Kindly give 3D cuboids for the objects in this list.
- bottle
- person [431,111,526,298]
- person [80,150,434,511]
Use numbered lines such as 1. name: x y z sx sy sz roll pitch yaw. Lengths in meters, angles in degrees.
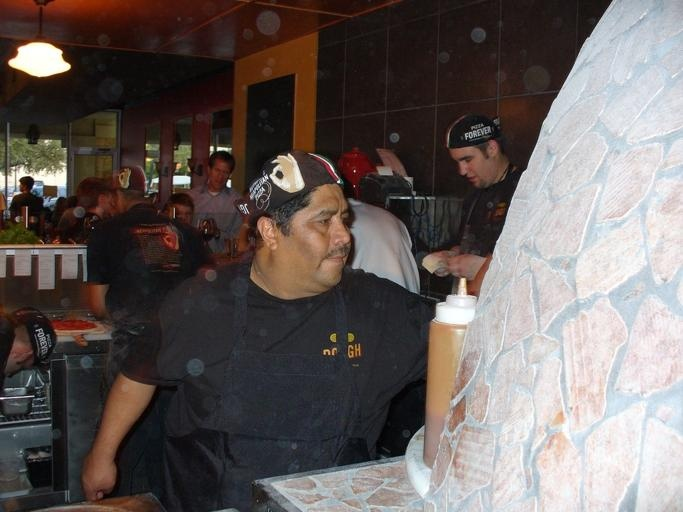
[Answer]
1. bottle: 0.197 0.217 1.102 0.103 0.347 0.064 -2 -2 12
2. person: 0.711 -0.295 3.176 0.461 0.983 1.043 -2 -2 17
3. person: -0.242 0.255 1.753 0.983 1.068 0.371 -2 -2 19
